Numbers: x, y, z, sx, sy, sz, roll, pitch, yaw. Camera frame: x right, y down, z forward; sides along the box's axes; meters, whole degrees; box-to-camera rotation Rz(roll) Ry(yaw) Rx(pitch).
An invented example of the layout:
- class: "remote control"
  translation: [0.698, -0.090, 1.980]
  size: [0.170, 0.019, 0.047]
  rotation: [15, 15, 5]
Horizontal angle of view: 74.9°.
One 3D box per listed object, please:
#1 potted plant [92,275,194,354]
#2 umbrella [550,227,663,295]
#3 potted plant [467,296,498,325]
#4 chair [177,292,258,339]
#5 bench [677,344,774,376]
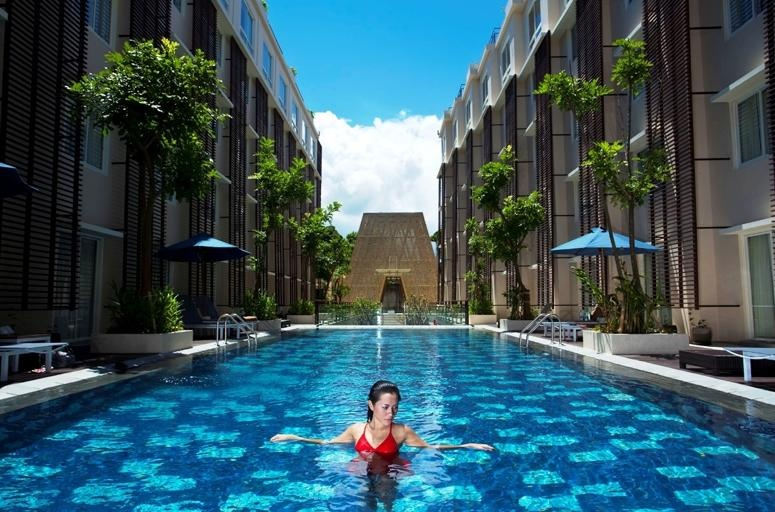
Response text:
- class: "potted plant"
  translation: [-5.932, 1.350, 12.409]
  size: [1.670, 1.563, 1.685]
  rotation: [0, 0, 2]
- class: "umbrella"
  translation: [6.946, 0.126, 15.897]
  size: [2.297, 0.992, 2.303]
  rotation: [-2, -12, 6]
- class: "potted plant"
  translation: [4.572, 2.606, 24.778]
  size: [1.255, 1.262, 1.244]
  rotation: [0, -7, -3]
- class: "chair"
  translation: [-5.381, 1.972, 16.054]
  size: [1.928, 1.033, 1.423]
  rotation: [0, -1, 18]
- class: "bench"
  translation: [6.017, 1.861, 8.947]
  size: [1.370, 0.494, 0.929]
  rotation: [-7, -9, 21]
